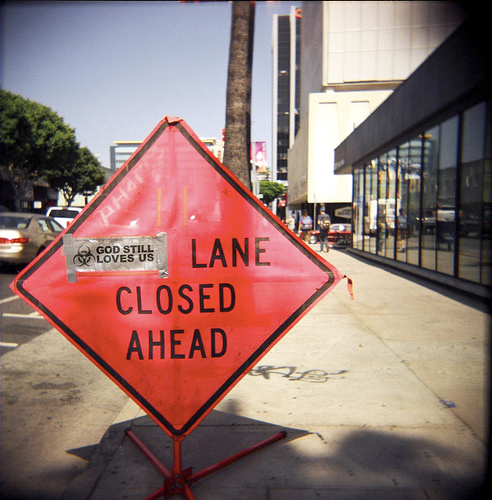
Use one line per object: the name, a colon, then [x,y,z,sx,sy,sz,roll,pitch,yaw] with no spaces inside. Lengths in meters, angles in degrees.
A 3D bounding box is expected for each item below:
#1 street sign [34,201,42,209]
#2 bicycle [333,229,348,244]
street sign: [-15.219,-3.347,51.809,0.627,0.663,0.650,0,3,2]
bicycle: [3.854,-0.494,29.347,0.580,0.654,1.402,1,14,7]
